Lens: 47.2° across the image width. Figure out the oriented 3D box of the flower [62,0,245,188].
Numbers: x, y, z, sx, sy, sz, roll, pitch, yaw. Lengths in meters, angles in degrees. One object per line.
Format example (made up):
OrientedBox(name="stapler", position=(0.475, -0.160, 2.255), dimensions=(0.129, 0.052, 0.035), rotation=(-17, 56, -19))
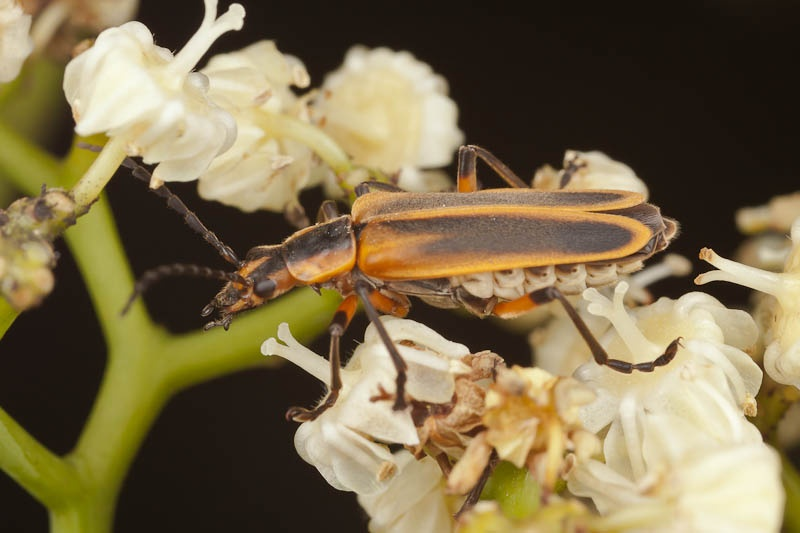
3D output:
OrientedBox(name="flower", position=(-0.780, -0.562, 3.065), dimensions=(0.615, 0.511, 0.342), rotation=(-18, 33, -16))
